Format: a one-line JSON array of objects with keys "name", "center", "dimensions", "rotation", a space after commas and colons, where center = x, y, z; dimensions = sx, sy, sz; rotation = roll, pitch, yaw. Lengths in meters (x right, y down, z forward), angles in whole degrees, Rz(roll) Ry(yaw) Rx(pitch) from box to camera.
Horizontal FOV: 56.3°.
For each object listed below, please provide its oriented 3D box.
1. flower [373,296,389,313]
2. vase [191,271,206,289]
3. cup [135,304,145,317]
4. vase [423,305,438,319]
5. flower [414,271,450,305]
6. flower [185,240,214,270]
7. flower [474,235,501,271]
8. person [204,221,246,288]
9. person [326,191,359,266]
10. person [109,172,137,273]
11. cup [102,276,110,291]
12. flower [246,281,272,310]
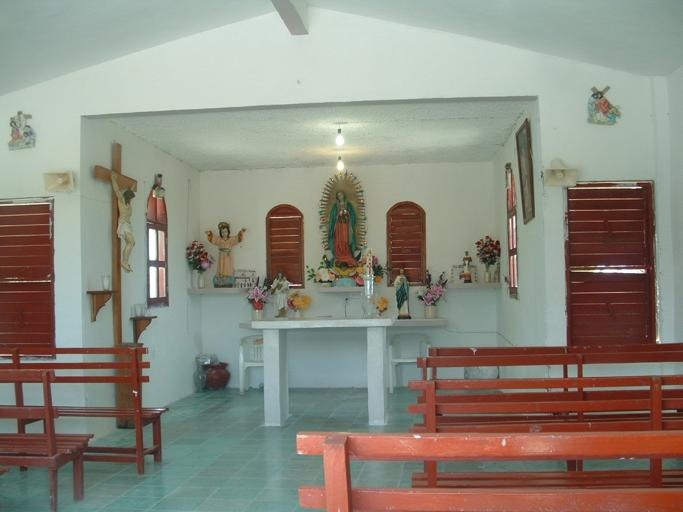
[{"name": "flower", "center": [0.605, 0.691, 9.326], "dimensions": [0.317, 0.297, 0.110], "rotation": [-2, -22, 2]}, {"name": "vase", "center": [-2.150, 0.327, 9.572], "dimensions": [0.179, 0.262, 0.135], "rotation": [-2, -1, 2]}, {"name": "cup", "center": [-2.376, 0.640, 7.570], "dimensions": [0.142, 0.133, 0.128], "rotation": [0, -1, -4]}, {"name": "vase", "center": [1.314, 0.809, 9.349], "dimensions": [0.203, 0.174, 0.179], "rotation": [1, -1, -1]}, {"name": "flower", "center": [1.354, 0.447, 9.371], "dimensions": [0.498, 0.421, 0.467], "rotation": [-2, 3, -12]}, {"name": "flower", "center": [-2.111, -0.012, 9.498], "dimensions": [0.344, 0.461, 0.316], "rotation": [-2, -1, -2]}, {"name": "flower", "center": [2.085, -0.124, 9.145], "dimensions": [0.265, 0.319, 0.262], "rotation": [-4, 12, 20]}, {"name": "person", "center": [-1.745, -0.037, 9.740], "dimensions": [0.589, 0.994, 0.362], "rotation": [-2, -1, -11]}, {"name": "person", "center": [0.022, -0.412, 9.632], "dimensions": [0.488, 1.111, 0.213], "rotation": [-2, -1, 1]}, {"name": "person", "center": [-2.497, -0.395, 7.309], "dimensions": [0.196, 1.127, 0.439], "rotation": [-2, -1, -4]}, {"name": "cup", "center": [-2.533, 0.278, 6.871], "dimensions": [0.074, 0.145, 0.098], "rotation": [-1, -1, -29]}, {"name": "flower", "center": [-1.215, 0.595, 9.504], "dimensions": [0.399, 0.367, 0.362], "rotation": [0, -6, 2]}]
